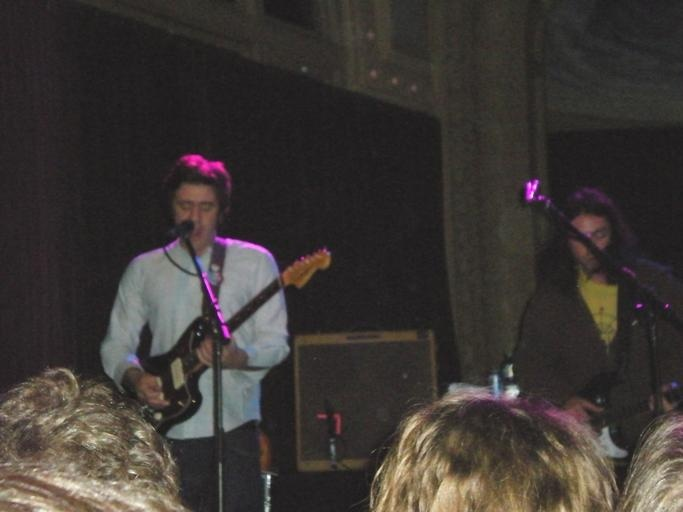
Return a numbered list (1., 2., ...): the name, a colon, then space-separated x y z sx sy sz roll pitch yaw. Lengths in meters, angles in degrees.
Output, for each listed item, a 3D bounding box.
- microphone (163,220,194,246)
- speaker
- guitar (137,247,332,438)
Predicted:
1. microphone: -0.888 -0.137 5.810 0.138 0.130 0.197 3 -12 1
2. speaker: 0.089 0.823 6.068 0.864 0.817 0.309 -1 -9 -1
3. guitar: -0.654 0.480 6.062 0.923 1.088 0.309 6 -12 -15
